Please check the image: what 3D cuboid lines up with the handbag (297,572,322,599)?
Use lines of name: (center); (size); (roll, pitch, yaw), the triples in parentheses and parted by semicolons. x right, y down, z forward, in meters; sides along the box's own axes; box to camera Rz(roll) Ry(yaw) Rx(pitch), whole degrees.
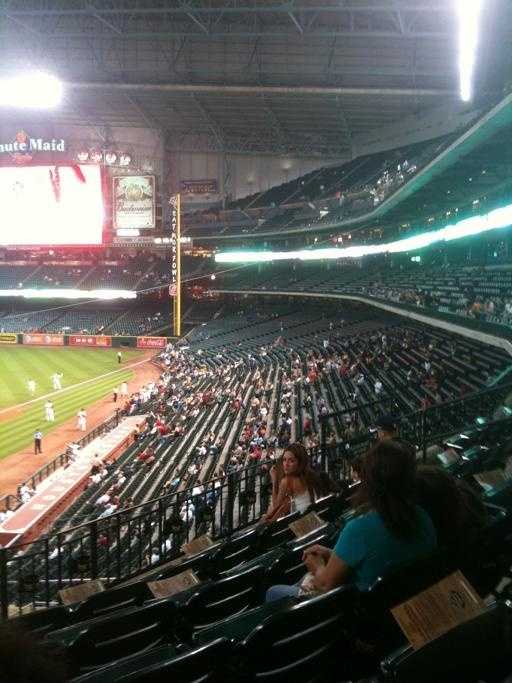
handbag: (0.263, 1.241, 2.456); (0.114, 0.053, 0.149); (-43, 17, 7)
